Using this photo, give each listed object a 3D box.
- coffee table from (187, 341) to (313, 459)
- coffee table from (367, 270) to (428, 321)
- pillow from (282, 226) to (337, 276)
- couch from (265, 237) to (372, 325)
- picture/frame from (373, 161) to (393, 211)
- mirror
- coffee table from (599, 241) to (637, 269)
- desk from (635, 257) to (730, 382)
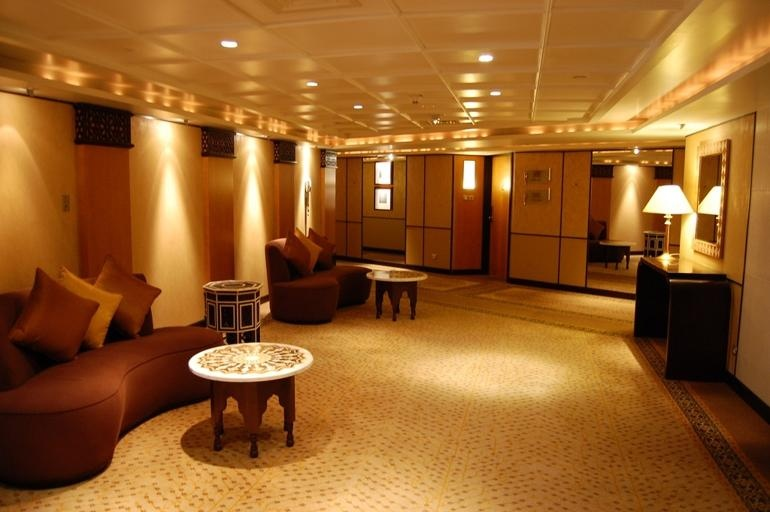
[{"bbox_3d":[-1.138,1.133,4.834,0.960,0.612,0.966,5,9,34],"label":"coffee table"},{"bbox_3d":[0.238,0.569,8.346,0.817,0.510,0.803,0,0,-40],"label":"coffee table"},{"bbox_3d":[-1.261,-0.085,8.510,0.226,0.721,0.767,-22,-2,22],"label":"pillow"},{"bbox_3d":[-1.110,-0.021,8.266,1.172,1.021,2.038,1,6,19],"label":"couch"},{"bbox_3d":[-0.059,-1.939,15.096,0.707,1.435,0.292,13,19,38],"label":"picture/frame"},{"bbox_3d":[4.169,-0.715,6.894,0.051,1.521,1.562,0,8,18],"label":"mirror"},{"bbox_3d":[5.763,0.005,13.323,0.758,0.489,0.782,1,9,22],"label":"coffee table"},{"bbox_3d":[3.610,0.759,6.459,0.475,0.824,1.373,0,7,12],"label":"desk"}]
